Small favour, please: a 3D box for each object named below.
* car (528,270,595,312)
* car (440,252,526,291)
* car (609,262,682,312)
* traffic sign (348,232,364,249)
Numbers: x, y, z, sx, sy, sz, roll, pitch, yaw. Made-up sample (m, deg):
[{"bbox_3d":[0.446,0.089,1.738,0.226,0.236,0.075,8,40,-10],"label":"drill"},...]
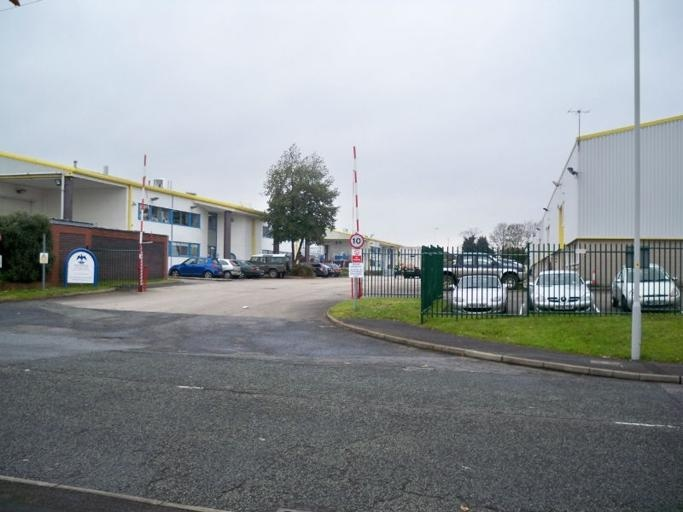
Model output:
[{"bbox_3d":[6.744,1.147,18.734,1.194,0.930,2.833,-2,-6,11],"label":"car"},{"bbox_3d":[6.138,0.915,26.154,3.808,1.458,1.955,-1,3,3],"label":"car"},{"bbox_3d":[9.281,0.596,18.570,1.832,1.623,3.118,-2,-7,22],"label":"car"},{"bbox_3d":[0.506,-0.493,19.587,0.391,0.559,0.932,1,4,-1],"label":"traffic sign"}]
